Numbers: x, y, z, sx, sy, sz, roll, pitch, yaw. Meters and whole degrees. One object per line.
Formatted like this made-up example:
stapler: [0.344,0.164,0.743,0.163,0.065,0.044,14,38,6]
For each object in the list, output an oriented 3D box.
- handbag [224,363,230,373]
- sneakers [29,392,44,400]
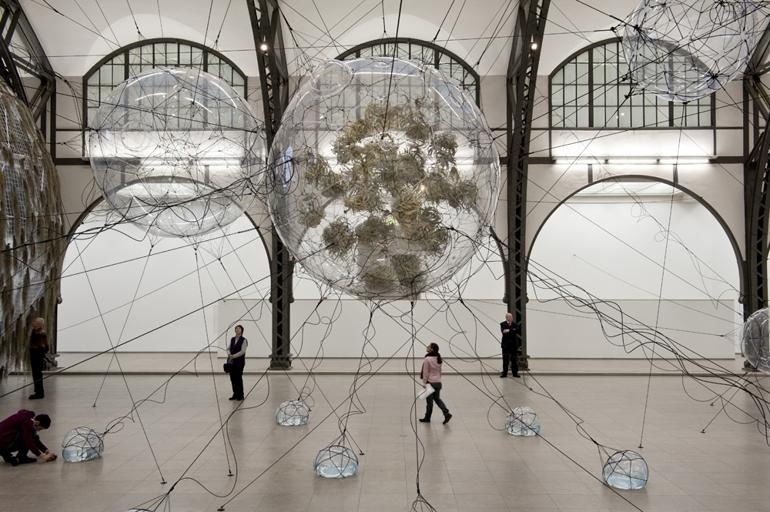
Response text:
handbag: [-3.809,2.705,15.577,0.124,0.189,0.262,-1,3,-14]
sneakers: [-8.771,3.513,16.149,0.338,0.137,0.242,0,2,-2]
